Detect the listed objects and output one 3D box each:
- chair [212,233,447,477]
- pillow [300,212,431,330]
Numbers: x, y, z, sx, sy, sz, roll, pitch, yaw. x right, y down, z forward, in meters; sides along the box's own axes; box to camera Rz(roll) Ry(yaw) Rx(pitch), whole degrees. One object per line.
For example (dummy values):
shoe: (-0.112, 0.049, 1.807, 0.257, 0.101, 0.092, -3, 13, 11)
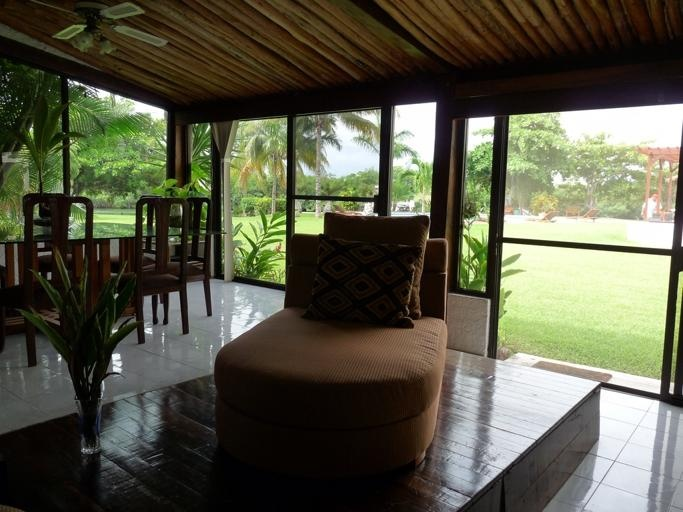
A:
chair: (0.014, 0.516, 2.957, 1.149, 1.105, 1.639, 2, 5, 14)
pillow: (0.170, 0.114, 2.920, 0.595, 0.598, 0.210, 5, -14, 17)
